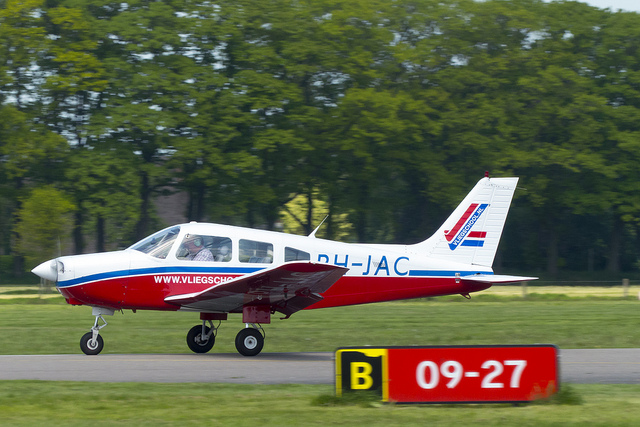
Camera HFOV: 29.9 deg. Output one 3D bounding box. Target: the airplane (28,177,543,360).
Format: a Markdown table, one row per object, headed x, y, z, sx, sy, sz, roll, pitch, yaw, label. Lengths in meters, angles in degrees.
| x | y | z | sx | sy | sz | roll | pitch | yaw | label |
| --- | --- | --- | --- | --- | --- | --- | --- | --- | --- |
| -1.324 | 1.841 | 44.512 | 17.774 | 3.014 | 12.704 | -3 | 19 | -7 | airplane |
